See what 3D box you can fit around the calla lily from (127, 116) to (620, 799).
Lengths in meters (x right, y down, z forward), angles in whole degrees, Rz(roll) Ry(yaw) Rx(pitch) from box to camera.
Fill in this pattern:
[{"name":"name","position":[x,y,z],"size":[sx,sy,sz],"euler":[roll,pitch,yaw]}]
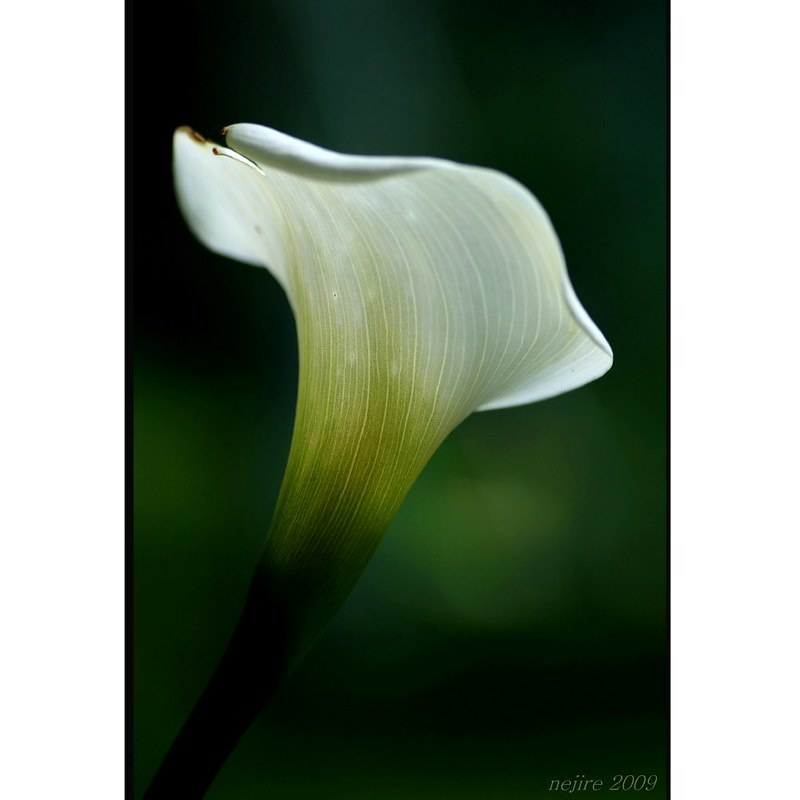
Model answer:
[{"name":"calla lily","position":[-0.038,0.048,1.244],"size":[0.418,0.901,0.474],"euler":[20,-1,2]}]
